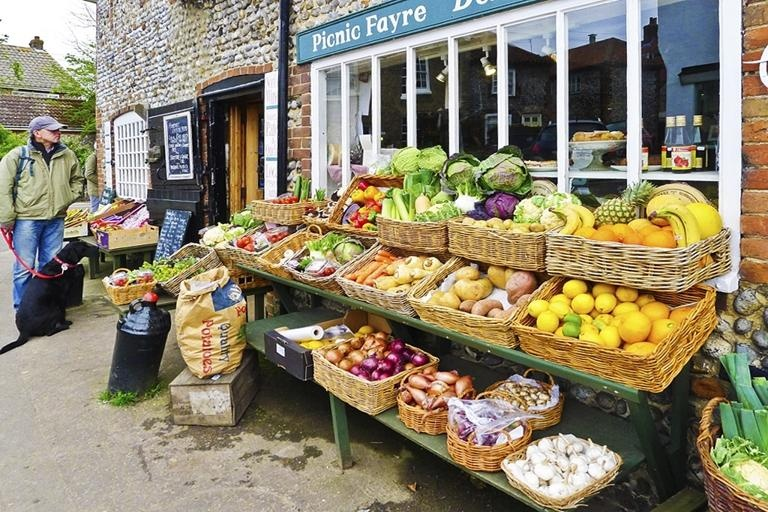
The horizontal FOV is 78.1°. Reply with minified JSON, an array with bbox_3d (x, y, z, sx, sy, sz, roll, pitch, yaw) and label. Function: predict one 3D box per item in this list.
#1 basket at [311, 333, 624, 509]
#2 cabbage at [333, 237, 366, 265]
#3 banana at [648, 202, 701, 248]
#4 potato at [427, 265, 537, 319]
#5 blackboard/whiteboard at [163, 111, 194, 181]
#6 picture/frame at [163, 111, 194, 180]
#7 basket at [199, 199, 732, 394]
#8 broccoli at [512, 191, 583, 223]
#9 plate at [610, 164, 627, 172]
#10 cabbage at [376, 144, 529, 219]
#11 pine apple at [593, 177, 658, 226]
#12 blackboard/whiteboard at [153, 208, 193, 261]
[{"bbox_3d":[0.381,1.348,3.670,2.304,1.050,0.921,19,33,39],"label":"basket"},{"bbox_3d":[-0.302,-0.027,4.294,0.258,0.201,0.195,-16,-22,4],"label":"cabbage"},{"bbox_3d":[1.668,-0.185,2.704,0.172,0.255,0.078,-35,-40,15],"label":"banana"},{"bbox_3d":[0.660,0.233,3.189,0.457,0.128,0.445,5,26,38],"label":"potato"},{"bbox_3d":[-3.412,-1.851,7.934,1.277,1.278,0.104,8,12,43],"label":"blackboard/whiteboard"},{"bbox_3d":[-3.419,-1.858,7.939,1.282,1.280,0.091,8,10,44],"label":"picture/frame"},{"bbox_3d":[1.123,0.299,2.860,1.452,0.850,0.715,4,13,29],"label":"basket"},{"bbox_3d":[1.042,-0.327,3.182,0.279,0.128,0.297,-15,7,14],"label":"broccoli"},{"bbox_3d":[1.670,-0.624,3.398,0.023,0.050,0.113,-9,12,-29],"label":"plate"},{"bbox_3d":[0.548,-0.520,3.622,0.810,0.247,0.781,-13,16,-22],"label":"cabbage"},{"bbox_3d":[1.502,-0.346,3.105,0.419,0.324,0.333,19,32,31],"label":"pine apple"},{"bbox_3d":[-3.341,-0.330,7.564,0.898,1.045,0.122,11,-12,42],"label":"blackboard/whiteboard"}]
